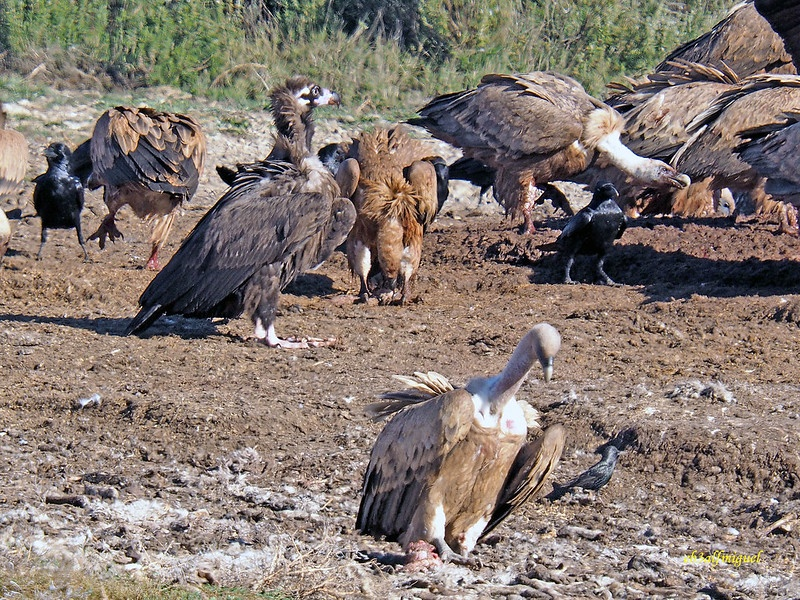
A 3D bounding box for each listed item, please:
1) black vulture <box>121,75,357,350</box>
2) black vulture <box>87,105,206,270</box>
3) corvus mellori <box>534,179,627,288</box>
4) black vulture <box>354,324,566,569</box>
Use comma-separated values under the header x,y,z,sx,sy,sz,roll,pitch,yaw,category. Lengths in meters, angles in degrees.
x,y,z,sx,sy,sz,roll,pitch,yaw,category
-1.458,-0.826,13.955,2.257,2.488,1.544,-1,7,-10,black vulture
-2.521,-1.128,15.462,1.198,1.706,1.263,-10,18,-23,black vulture
1.989,-0.646,14.978,0.695,1.081,0.434,13,12,2,corvus mellori
0.451,1.075,11.351,1.582,1.812,1.374,8,-9,1,black vulture
